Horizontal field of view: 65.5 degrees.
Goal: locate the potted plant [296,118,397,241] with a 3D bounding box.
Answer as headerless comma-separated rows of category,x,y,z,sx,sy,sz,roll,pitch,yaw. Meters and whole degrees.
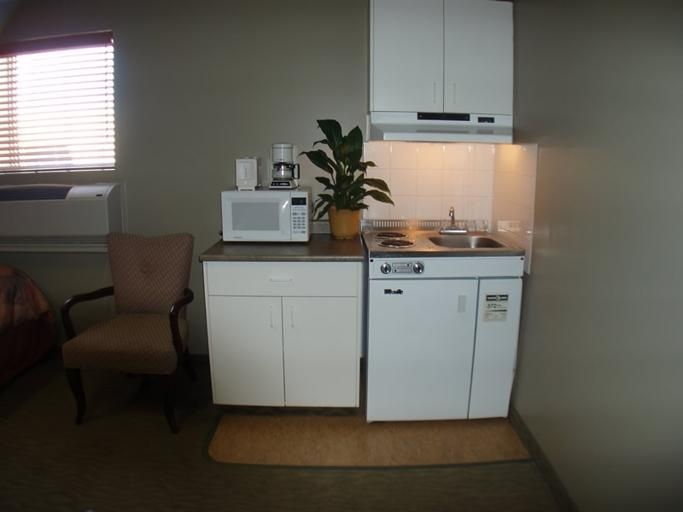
potted plant,0.023,-0.522,3.994,0.810,0.982,0.791,0,5,2

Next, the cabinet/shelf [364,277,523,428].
cabinet/shelf,0.572,0.448,3.771,1.164,1.231,0.797,-1,6,0

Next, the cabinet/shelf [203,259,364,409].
cabinet/shelf,-0.378,0.373,3.807,1.322,1.373,0.787,0,5,2

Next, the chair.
chair,-1.388,0.423,3.517,0.730,1.107,0.865,0,9,-11

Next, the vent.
vent,0.673,-0.863,3.574,0.963,0.189,0.168,1,11,-4
